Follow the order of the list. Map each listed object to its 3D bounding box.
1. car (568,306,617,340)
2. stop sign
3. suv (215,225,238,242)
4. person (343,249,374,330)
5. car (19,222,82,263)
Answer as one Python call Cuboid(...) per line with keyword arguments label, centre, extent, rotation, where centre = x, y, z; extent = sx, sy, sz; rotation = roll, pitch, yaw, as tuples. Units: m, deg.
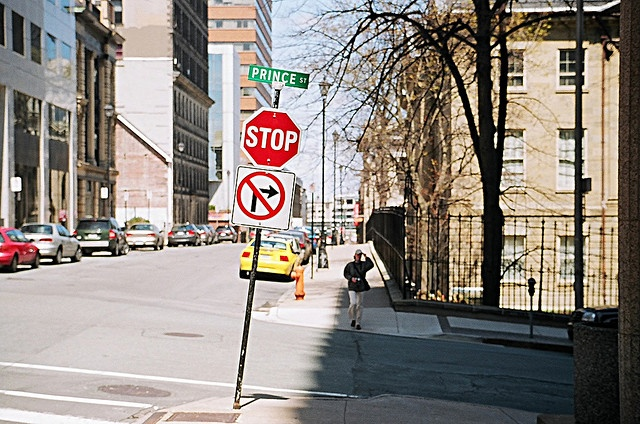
Cuboid(label="car", centre=(7.690, 3.157, 25.725), extent=(1.406, 1.069, 4.994), rotation=(2, -5, 16))
Cuboid(label="stop sign", centre=(-1.054, -1.596, 19.607), extent=(1.191, 1.212, 0.266), rotation=(4, -4, -6))
Cuboid(label="suv", centre=(-8.063, 1.862, 79.237), extent=(1.831, 1.438, 3.279), rotation=(4, -5, -4))
Cuboid(label="person", centre=(1.189, 2.340, 27.934), extent=(0.965, 2.266, 0.868), rotation=(0, -1, 1))
Cuboid(label="car", centre=(-11.695, 1.293, 40.034), extent=(1.234, 0.873, 2.673), rotation=(0, -1, 5))
